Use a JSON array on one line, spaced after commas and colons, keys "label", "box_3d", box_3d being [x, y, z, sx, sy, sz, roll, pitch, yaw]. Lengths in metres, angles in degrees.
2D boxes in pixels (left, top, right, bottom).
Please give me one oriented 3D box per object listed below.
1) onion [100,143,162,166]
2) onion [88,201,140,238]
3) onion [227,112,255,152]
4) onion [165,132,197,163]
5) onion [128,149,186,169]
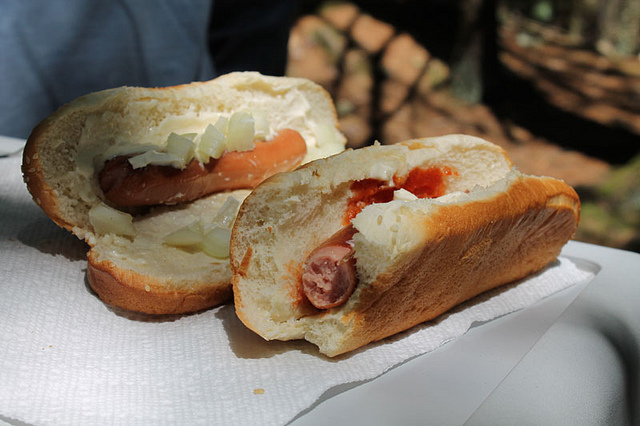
[{"label": "onion", "box_3d": [-1.145, -0.370, 3.679, 0.278, 0.154, 0.069, -9, 97, -20]}, {"label": "onion", "box_3d": [-1.200, 0.045, 3.580, 0.255, 0.067, 0.163, 20, 52, -17]}, {"label": "onion", "box_3d": [-0.502, -0.498, 3.872, 0.157, 0.058, 0.250, 4, 93, -10]}, {"label": "onion", "box_3d": [-0.852, -0.380, 3.734, 0.164, 0.165, 0.128, 27, 85, -16]}, {"label": "onion", "box_3d": [-0.963, -0.318, 3.621, 0.219, 0.054, 0.147, 4, 34, -24]}]
